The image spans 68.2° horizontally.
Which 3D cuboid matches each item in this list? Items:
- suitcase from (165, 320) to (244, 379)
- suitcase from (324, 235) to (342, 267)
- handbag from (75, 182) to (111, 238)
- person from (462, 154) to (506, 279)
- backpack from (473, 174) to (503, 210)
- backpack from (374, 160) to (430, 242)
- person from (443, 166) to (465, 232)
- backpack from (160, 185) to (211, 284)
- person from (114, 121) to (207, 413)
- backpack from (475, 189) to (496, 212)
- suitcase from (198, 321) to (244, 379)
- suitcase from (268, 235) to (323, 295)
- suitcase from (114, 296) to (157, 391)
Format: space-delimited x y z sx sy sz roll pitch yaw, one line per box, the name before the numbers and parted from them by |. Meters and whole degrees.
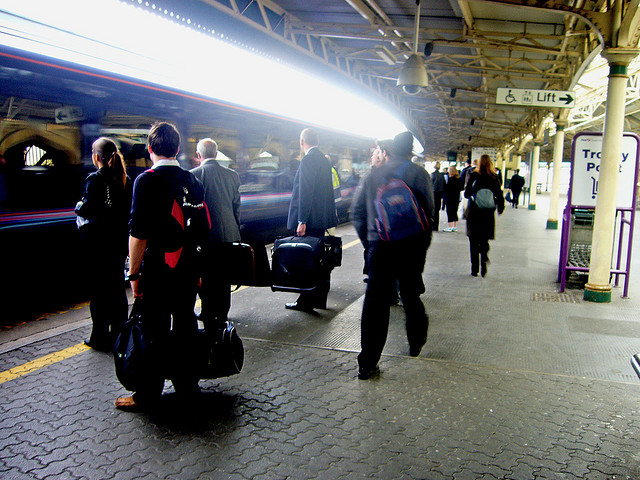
suitcase | -1.072 0.904 4.219 0.695 0.634 0.483 -2 -7 -5
suitcase | 0.175 0.134 6.265 0.289 0.388 0.367 3 41 5
handbag | -2.431 -0.249 4.876 0.116 0.448 0.471 19 25 24
person | 2.921 -0.466 8.496 0.720 2.180 1.088 4 14 17
backpack | 2.993 -0.912 8.543 0.485 0.661 0.371 2 17 17
backpack | 0.738 -0.419 4.750 0.595 0.769 0.456 -18 3 -6
person | 4.011 -1.267 14.356 0.522 2.070 1.054 4 14 14
backpack | -1.112 -0.050 3.886 0.138 0.818 0.470 8 16 30
person | -1.324 0.254 3.909 0.854 2.413 0.495 -7 15 -28
backpack | 2.911 -0.729 8.351 0.362 0.417 0.226 1 -33 5
suitcase | -0.867 0.934 4.054 0.453 0.418 0.435 2 -9 9
suitcase | -0.297 0.312 6.046 0.725 0.737 0.443 5 10 16
suitcase | -1.552 0.853 3.931 0.327 0.768 0.319 3 0 -18
